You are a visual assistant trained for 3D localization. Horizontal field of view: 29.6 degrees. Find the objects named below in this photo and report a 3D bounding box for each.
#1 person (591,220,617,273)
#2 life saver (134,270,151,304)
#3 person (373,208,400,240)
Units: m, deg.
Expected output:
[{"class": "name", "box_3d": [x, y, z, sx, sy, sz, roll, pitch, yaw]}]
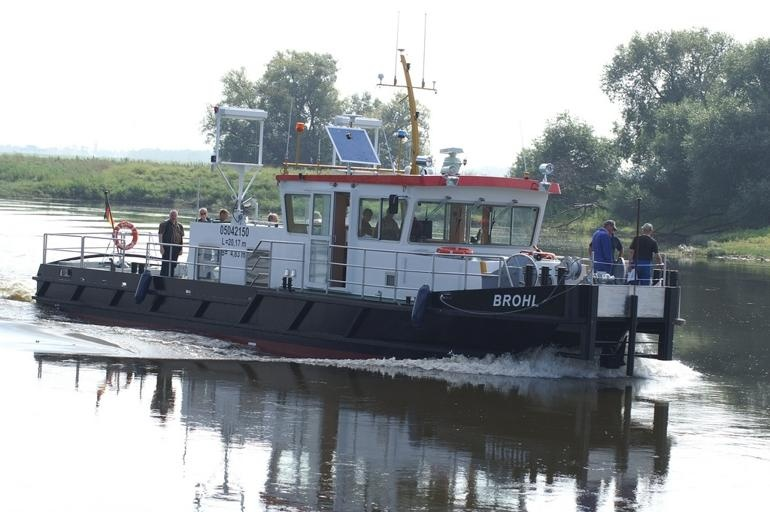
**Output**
[{"class": "person", "box_3d": [5.798, -0.248, 39.225, 0.668, 1.455, 1.046, 6, 5, 8]}, {"class": "life saver", "box_3d": [-7.045, 0.911, 42.381, 0.234, 0.933, 0.432, 18, 2, -35]}, {"class": "person", "box_3d": [0.012, -0.890, 39.852, 0.635, 0.949, 0.328, 17, 30, 30]}]
